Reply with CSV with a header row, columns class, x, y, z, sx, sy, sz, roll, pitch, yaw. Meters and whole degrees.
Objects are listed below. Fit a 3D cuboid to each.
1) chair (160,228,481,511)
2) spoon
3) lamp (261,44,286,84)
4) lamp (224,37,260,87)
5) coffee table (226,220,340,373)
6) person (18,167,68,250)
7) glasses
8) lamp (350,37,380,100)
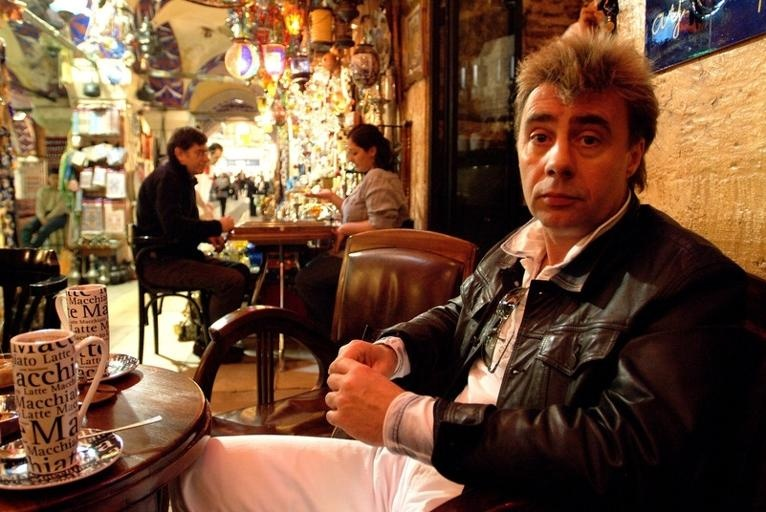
class,x,y,z,sx,sy,sz,roll,pitch,yaw
chair,-0.472,0.230,2.552,1.086,1.236,0.881,18,-7,-37
spoon,-0.789,0.453,1.541,0.116,0.041,0.382,21,16,40
lamp,-1.068,-1.901,5.834,0.300,0.417,0.296,1,0,1
lamp,-1.450,-1.838,5.559,0.396,0.457,0.407,0,5,0
coffee table,-0.865,0.209,4.621,0.941,0.938,0.959,1,0,32
person,-5.063,-0.680,8.644,0.637,1.087,0.423,-5,4,-40
glasses,0.370,0.231,1.793,0.065,0.240,0.157,20,-22,-17
lamp,-0.150,-1.557,4.718,0.336,0.406,0.336,-4,14,-18
